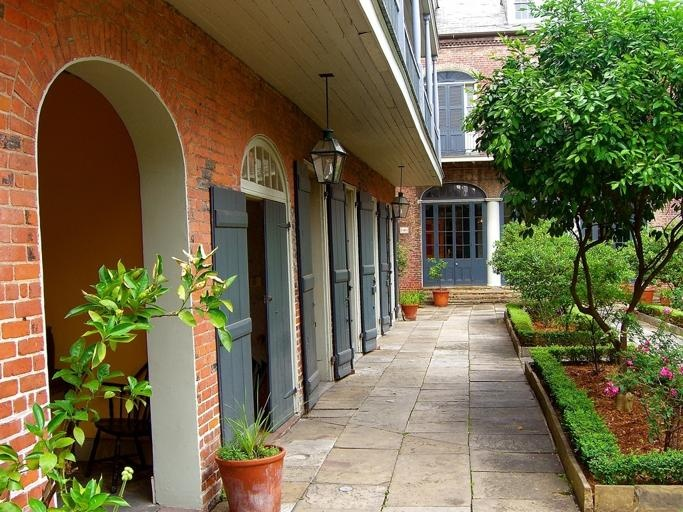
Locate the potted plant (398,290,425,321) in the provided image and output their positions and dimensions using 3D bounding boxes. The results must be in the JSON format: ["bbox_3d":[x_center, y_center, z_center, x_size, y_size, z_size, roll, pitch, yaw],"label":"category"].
[{"bbox_3d":[2.153,1.453,15.313,0.779,0.877,0.784,0,-6,-4],"label":"potted plant"}]

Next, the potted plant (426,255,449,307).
[{"bbox_3d":[3.457,0.923,18.593,0.721,1.573,1.664,-1,1,10],"label":"potted plant"}]

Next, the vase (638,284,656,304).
[{"bbox_3d":[9.942,1.222,16.896,0.356,0.535,1.416,-1,1,32],"label":"vase"}]

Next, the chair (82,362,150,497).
[{"bbox_3d":[-2.017,1.525,4.753,0.504,1.023,0.491,-15,-21,41],"label":"chair"}]
